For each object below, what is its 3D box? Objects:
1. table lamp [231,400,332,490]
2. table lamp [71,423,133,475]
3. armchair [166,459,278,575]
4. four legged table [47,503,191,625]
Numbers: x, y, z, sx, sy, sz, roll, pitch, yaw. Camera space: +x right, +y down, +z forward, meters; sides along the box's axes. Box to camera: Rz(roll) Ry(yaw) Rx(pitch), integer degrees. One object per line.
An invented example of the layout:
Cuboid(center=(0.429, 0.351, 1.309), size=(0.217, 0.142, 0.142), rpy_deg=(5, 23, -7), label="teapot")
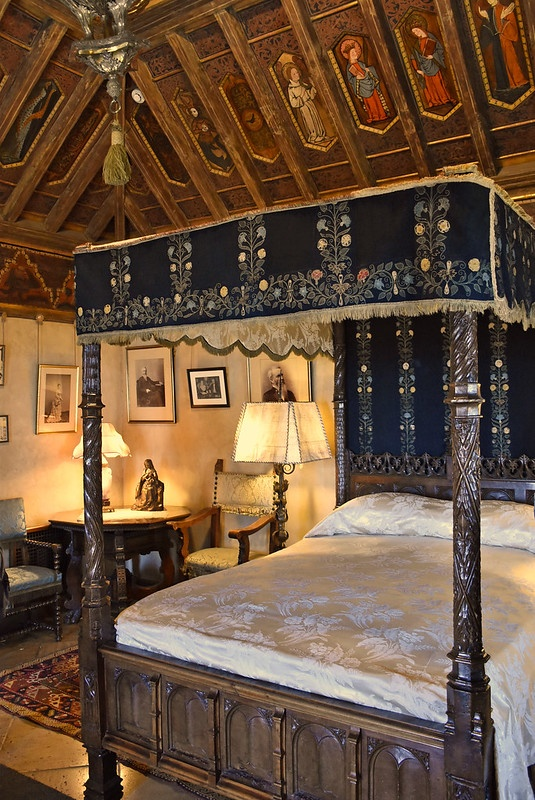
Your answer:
Cuboid(center=(0.128, 0.330, 4.823), size=(0.519, 0.615, 0.636), rpy_deg=(-2, -1, 30), label="table lamp")
Cuboid(center=(-1.658, 0.454, 6.134), size=(0.696, 0.552, 0.669), rpy_deg=(3, -10, -37), label="table lamp")
Cuboid(center=(-0.364, 1.236, 5.583), size=(0.786, 1.278, 0.819), rpy_deg=(-1, 4, 26), label="armchair")
Cuboid(center=(-0.962, 1.553, 6.117), size=(1.101, 0.814, 0.974), rpy_deg=(-22, -17, 35), label="four legged table")
